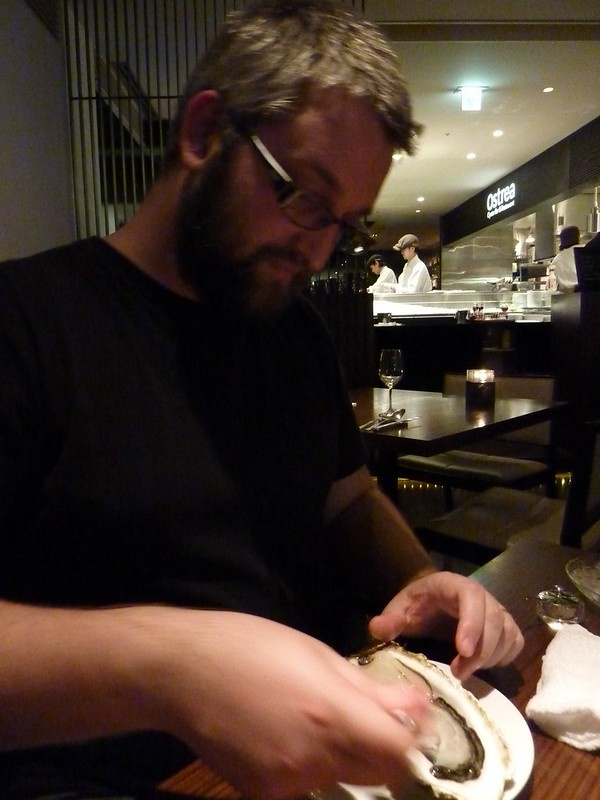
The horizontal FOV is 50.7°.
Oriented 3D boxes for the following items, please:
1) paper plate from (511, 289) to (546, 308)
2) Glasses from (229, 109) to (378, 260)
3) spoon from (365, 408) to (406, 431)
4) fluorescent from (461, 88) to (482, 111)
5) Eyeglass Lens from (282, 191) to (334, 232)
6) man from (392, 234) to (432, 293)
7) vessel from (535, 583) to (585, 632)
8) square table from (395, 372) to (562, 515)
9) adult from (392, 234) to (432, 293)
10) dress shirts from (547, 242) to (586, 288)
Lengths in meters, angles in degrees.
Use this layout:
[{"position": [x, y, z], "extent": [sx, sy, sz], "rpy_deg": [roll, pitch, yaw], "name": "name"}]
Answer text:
[{"position": [3.434, -1.531, 9.422], "extent": [0.347, 0.174, 0.413], "rpy_deg": [1, 7, 23], "name": "paper plate"}, {"position": [0.002, -0.225, 0.701], "extent": [0.038, 0.137, 0.128], "rpy_deg": [-31, -14, 17], "name": "Glasses"}, {"position": [0.315, 0.042, 2.236], "extent": [0.059, 0.044, 0.241], "rpy_deg": [7, 13, 23], "name": "spoon"}, {"position": [1.766, -3.143, 6.489], "extent": [0.152, 0.043, 0.174], "rpy_deg": [0, -37, 8], "name": "fluorescent"}, {"position": [0.010, -0.211, 0.704], "extent": [0.036, 0.037, 0.010], "rpy_deg": [8, -48, -47], "name": "Eyeglass Lens"}, {"position": [1.690, -2.061, 9.708], "extent": [0.548, 0.958, 0.691], "rpy_deg": [-9, 13, -18], "name": "man"}, {"position": [0.341, 0.267, 0.819], "extent": [0.038, 0.044, 0.040], "rpy_deg": [-5, 0, 3], "name": "vessel"}, {"position": [0.945, 0.258, 2.875], "extent": [0.408, 0.608, 0.458], "rpy_deg": [10, -5, 33], "name": "square table"}, {"position": [1.682, -2.077, 9.701], "extent": [0.545, 0.945, 0.701], "rpy_deg": [-13, 18, -26], "name": "adult"}, {"position": [3.008, -1.519, 7.184], "extent": [0.215, 0.488, 1.071], "rpy_deg": [1, 9, 24], "name": "dress shirts"}]
